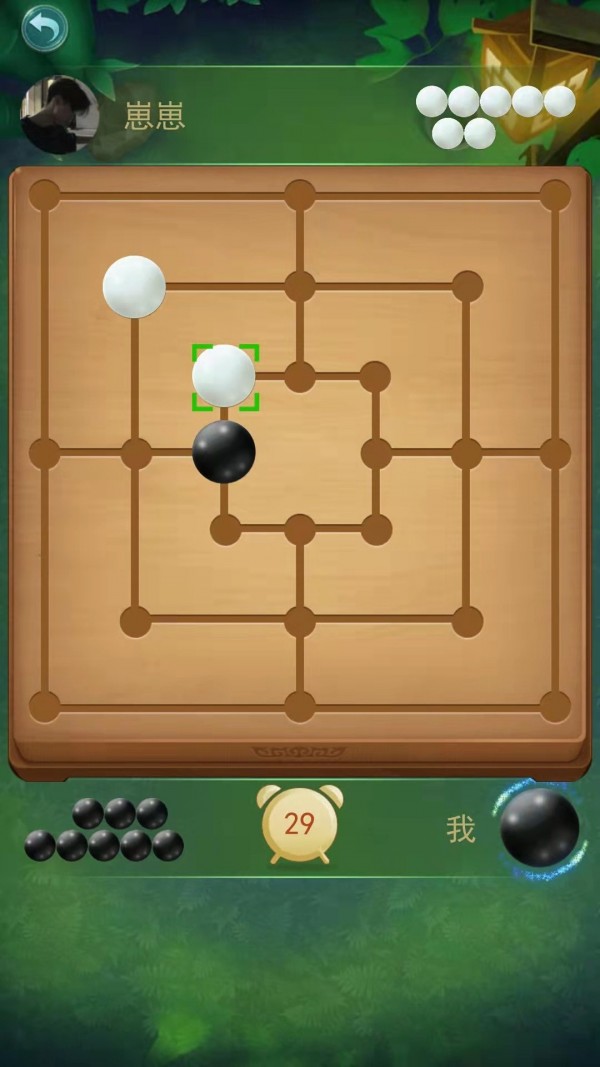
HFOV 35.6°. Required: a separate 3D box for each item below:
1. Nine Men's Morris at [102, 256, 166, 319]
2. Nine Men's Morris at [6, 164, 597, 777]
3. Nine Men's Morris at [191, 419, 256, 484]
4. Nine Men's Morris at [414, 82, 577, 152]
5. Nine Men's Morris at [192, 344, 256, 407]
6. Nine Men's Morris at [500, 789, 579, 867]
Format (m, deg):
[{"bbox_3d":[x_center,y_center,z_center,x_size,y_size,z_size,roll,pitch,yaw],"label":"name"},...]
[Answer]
[{"bbox_3d":[-0.323,-0.476,1.811,0.108,0.065,0.112,0,-81,0],"label":"Nine Men's Morris"},{"bbox_3d":[-0.006,-0.130,2.113,1.296,0.224,1.359,0,-81,0],"label":"Nine Men's Morris"},{"bbox_3d":[-0.146,-0.160,1.886,0.117,0.121,0.139,-1,-99,17],"label":"Nine Men's Morris"},{"bbox_3d":[0.423,-0.941,2.084,0.305,0.074,0.165,-12,-93,-5],"label":"Nine Men's Morris"},{"bbox_3d":[-0.151,-0.303,1.812,0.111,0.055,0.113,-20,-81,3],"label":"Nine Men's Morris"},{"bbox_3d":[0.516,0.643,2.040,0.111,0.133,0.116,-29,-63,3],"label":"Nine Men's Morris"}]
